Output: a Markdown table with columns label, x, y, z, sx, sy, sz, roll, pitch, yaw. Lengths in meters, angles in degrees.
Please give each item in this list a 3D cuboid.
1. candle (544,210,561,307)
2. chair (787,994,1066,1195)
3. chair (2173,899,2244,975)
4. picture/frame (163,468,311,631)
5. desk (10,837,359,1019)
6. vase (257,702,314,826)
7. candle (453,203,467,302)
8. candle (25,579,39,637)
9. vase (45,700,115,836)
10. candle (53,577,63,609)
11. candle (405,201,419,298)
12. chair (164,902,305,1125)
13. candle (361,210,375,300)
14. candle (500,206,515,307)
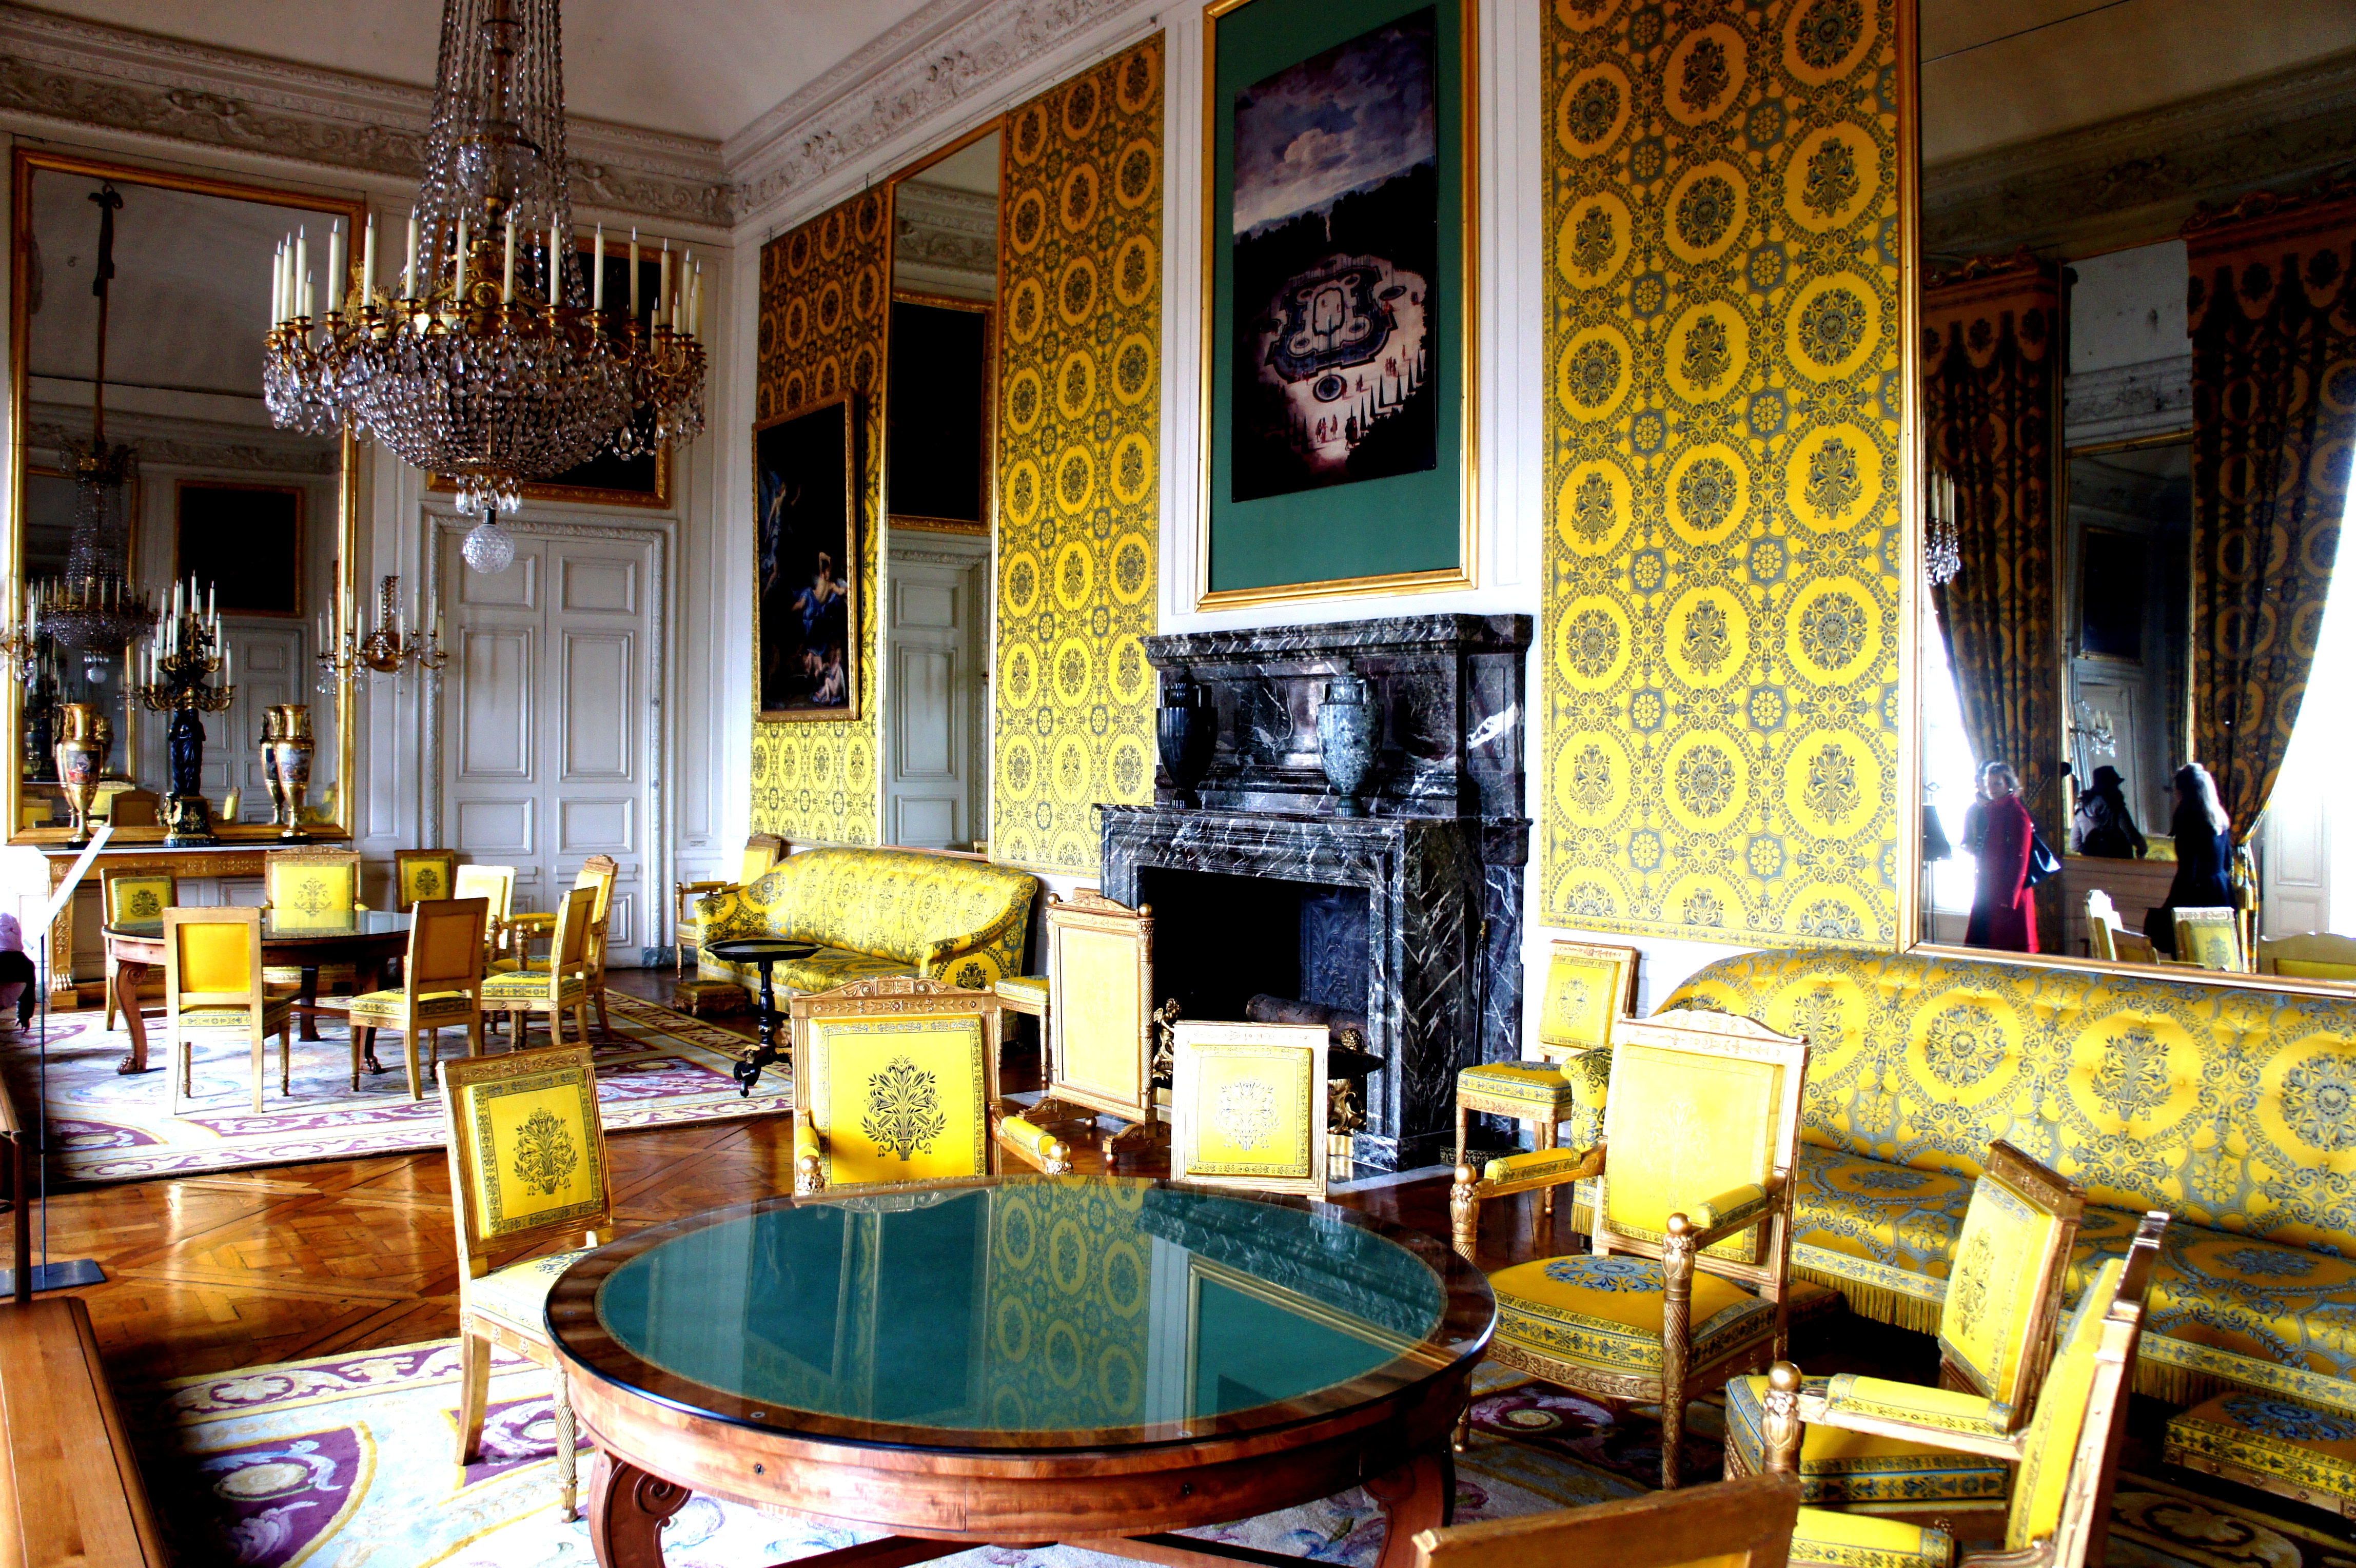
| label | x | y | z | sx | sy | sz | roll | pitch | yaw |
| --- | --- | --- | --- | --- | --- | --- | --- | --- | --- |
| candle | -2.108 | -1.752 | 5.560 | 0.041 | 0.312 | 0.287 | -1 | -1 | -20 |
| chair | -0.724 | 0.759 | 4.313 | 0.539 | 0.783 | 0.556 | 0 | -4 | -21 |
| chair | 2.925 | 0.434 | 4.665 | 0.154 | 0.259 | 0.145 | -12 | 12 | -42 |
| picture/frame | -5.417 | -1.346 | 9.378 | 0.961 | 1.174 | 0.043 | -1 | 0 | -41 |
| desk | -4.843 | 0.704 | 7.928 | 1.014 | 0.601 | 0.353 | 0 | -3 | -31 |
| vase | -5.072 | -0.119 | 9.294 | 0.277 | 0.809 | 0.701 | 1 | -1 | -32 |
| candle | -2.343 | -1.692 | 5.359 | 0.045 | 0.254 | 0.136 | -1 | 0 | -21 |
| candle | -6.267 | -0.948 | 8.992 | 0.057 | 0.285 | 0.030 | -1 | 0 | -22 |
| vase | -5.929 | -0.073 | 8.892 | 0.248 | 0.660 | 0.606 | -1 | -1 | -34 |
| candle | -6.144 | -1.048 | 9.039 | 0.082 | 0.159 | 0.014 | -1 | 0 | -6 |
| candle | -2.592 | -1.761 | 5.540 | 0.029 | 0.286 | 0.392 | -1 | -1 | -24 |
| chair | -4.030 | 0.945 | 6.977 | 0.457 | 0.778 | 0.714 | -1 | -1 | -30 |
| candle | -2.690 | -1.745 | 5.448 | 0.042 | 0.288 | 0.422 | -1 | -1 | -26 |
| candle | -2.261 | -1.772 | 5.536 | 0.037 | 0.329 | 0.392 | -1 | -1 | -20 |
